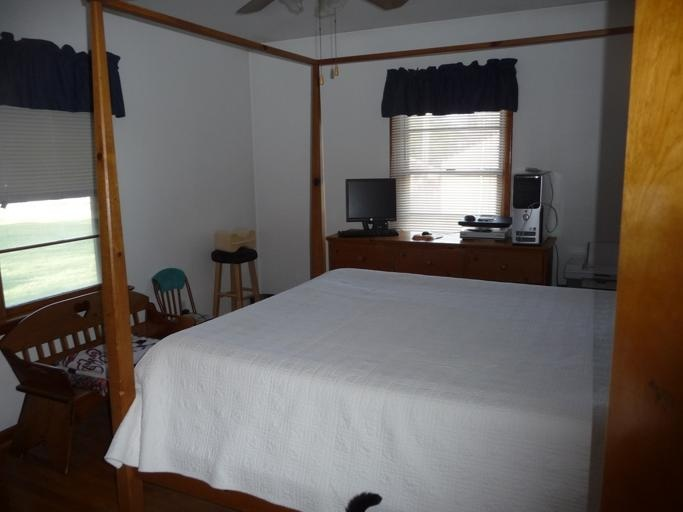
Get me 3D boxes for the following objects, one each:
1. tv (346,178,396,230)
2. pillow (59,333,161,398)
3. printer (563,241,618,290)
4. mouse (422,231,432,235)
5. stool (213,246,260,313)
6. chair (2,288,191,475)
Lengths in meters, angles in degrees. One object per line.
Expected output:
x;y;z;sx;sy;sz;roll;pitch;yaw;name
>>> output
0.273;-0.498;4.677;0.440;0.505;0.160;0;7;-1;tv
-1.486;0.662;2.950;0.318;0.059;0.353;8;39;12;pillow
1.962;0.075;3.957;0.429;0.345;0.436;3;12;32;printer
0.744;-0.195;4.394;0.040;0.032;0.057;1;1;36;mouse
-1.028;0.249;4.717;0.317;0.617;0.328;3;9;7;stool
-1.375;0.706;2.707;0.307;0.633;0.858;6;17;16;chair
